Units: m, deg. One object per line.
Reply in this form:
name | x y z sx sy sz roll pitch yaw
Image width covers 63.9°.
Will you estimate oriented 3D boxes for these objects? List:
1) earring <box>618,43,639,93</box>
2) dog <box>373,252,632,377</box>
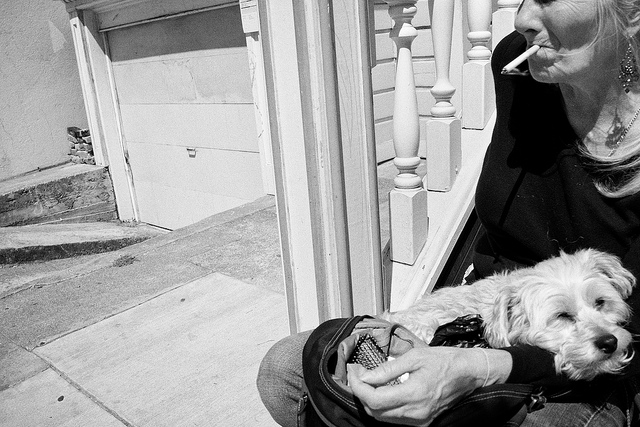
earring | 1.276 -0.595 2.106 0.080 0.191 0.020 -4 23 9
dog | 0.830 0.425 2.175 0.773 0.272 0.552 -12 9 22
